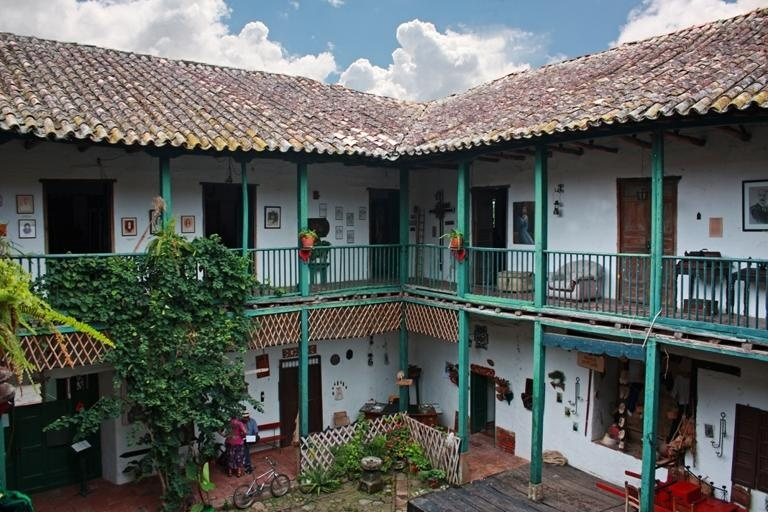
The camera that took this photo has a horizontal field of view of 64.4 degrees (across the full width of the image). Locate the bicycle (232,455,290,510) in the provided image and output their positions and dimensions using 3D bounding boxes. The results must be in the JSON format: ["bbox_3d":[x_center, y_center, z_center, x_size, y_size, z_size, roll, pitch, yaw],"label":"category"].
[{"bbox_3d":[-3.030,5.668,15.107,1.497,0.684,0.636,-8,9,-44],"label":"bicycle"}]

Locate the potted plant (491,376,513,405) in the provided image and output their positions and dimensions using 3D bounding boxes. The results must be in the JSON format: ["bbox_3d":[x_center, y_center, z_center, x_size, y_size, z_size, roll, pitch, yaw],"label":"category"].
[{"bbox_3d":[3.415,3.891,17.508,0.323,0.618,0.602,-4,12,-28],"label":"potted plant"}]

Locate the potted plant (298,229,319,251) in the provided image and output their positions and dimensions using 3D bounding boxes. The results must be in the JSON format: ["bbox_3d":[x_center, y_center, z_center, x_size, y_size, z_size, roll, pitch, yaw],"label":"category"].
[{"bbox_3d":[-2.001,-0.414,16.093,0.483,0.487,0.491,2,-5,-16],"label":"potted plant"}]

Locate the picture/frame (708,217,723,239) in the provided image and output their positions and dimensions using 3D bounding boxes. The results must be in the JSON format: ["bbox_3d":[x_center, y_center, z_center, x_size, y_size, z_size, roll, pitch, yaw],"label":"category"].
[{"bbox_3d":[7.702,-0.652,14.206,0.303,0.473,0.046,3,8,33],"label":"picture/frame"}]

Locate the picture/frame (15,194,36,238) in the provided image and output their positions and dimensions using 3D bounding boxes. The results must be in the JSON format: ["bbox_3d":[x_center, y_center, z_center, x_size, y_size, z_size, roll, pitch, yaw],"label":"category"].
[{"bbox_3d":[-8.646,-0.947,14.723,0.410,1.074,0.146,-6,8,-34],"label":"picture/frame"}]

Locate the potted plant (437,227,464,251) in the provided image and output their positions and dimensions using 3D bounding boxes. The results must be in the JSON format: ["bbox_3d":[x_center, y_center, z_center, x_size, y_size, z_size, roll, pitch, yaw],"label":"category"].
[{"bbox_3d":[1.988,-0.440,16.623,0.674,0.686,0.660,-4,7,-34],"label":"potted plant"}]

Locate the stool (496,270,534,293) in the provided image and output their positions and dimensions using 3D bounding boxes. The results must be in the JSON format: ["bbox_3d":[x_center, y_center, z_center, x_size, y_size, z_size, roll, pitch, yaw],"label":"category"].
[{"bbox_3d":[3.405,0.681,15.868,0.930,0.594,0.614,-1,6,9],"label":"stool"}]
